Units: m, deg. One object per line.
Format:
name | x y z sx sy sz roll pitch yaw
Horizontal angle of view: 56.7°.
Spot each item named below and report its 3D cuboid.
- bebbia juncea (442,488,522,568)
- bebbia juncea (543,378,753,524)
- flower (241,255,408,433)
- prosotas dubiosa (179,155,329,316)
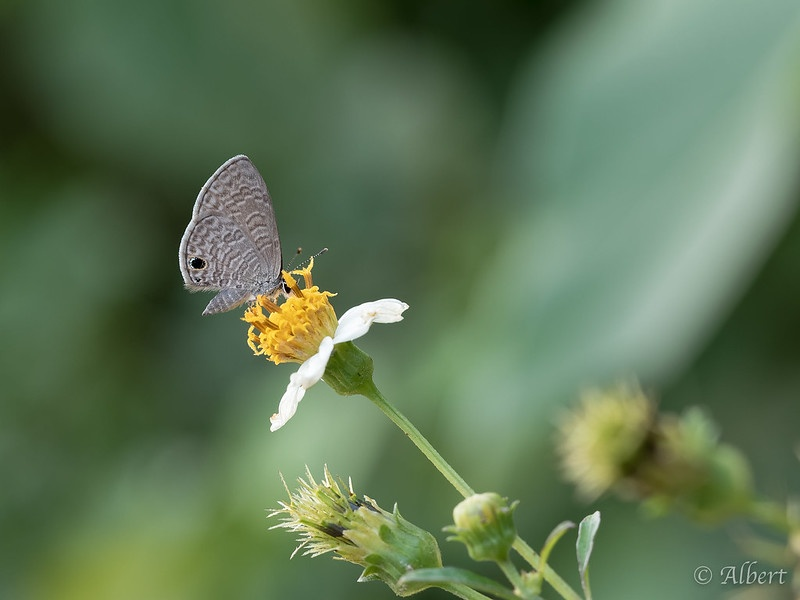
bebbia juncea | 0.214 0.594 1.929 0.184 0.183 0.121 -6 -28 -2
bebbia juncea | 0.768 0.483 2.305 0.527 0.439 0.110 -15 -28 14
flower | -0.307 0.099 2.449 0.569 0.559 0.311 -9 -65 31
prosotas dubiosa | -0.637 -0.226 2.854 0.410 0.748 0.257 0 5 -11
